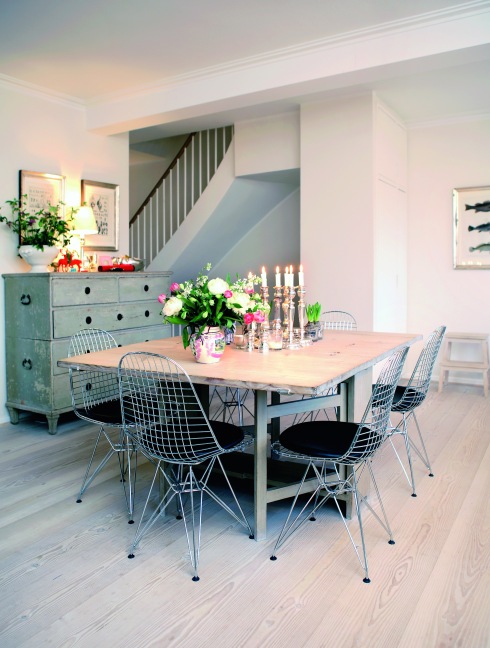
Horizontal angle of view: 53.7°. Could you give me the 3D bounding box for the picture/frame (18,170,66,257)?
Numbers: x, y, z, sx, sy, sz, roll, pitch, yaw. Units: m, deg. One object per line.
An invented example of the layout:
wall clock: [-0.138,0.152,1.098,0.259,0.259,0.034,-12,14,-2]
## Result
picture/frame: [-1.737,-0.930,4.087,0.032,0.555,0.779,5,10,26]

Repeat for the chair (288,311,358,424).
chair: [0.728,0.096,4.426,0.525,0.925,0.664,6,-28,-3]

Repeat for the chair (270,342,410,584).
chair: [0.370,0.524,2.396,0.796,1.212,0.697,2,4,22]

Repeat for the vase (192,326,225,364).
vase: [-0.155,0.100,2.185,0.148,0.154,0.160,-2,-4,32]

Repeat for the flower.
flower: [-0.170,-0.057,2.396,0.479,0.348,0.496,-3,9,7]

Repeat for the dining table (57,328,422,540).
dining table: [0.274,0.234,2.410,0.997,0.695,1.417,2,4,26]

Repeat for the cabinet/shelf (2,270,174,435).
cabinet/shelf: [-1.189,0.204,3.371,0.494,1.061,1.260,1,4,30]

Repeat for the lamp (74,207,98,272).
lamp: [-1.489,-0.816,4.512,0.179,0.647,0.500,-2,3,-20]
